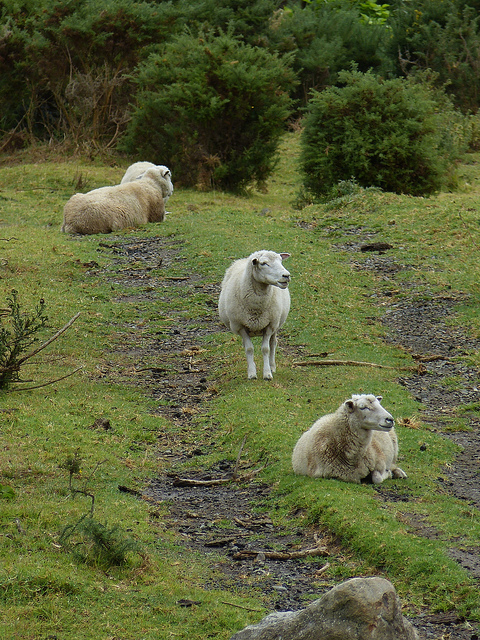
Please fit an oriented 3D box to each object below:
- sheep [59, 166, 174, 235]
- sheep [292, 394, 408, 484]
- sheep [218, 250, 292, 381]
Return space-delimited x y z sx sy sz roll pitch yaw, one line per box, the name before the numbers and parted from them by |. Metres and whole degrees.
sheep | -2.774 -2.810 23.375 3.307 1.356 1.527 -20 31 -38
sheep | 1.240 1.287 11.078 1.346 0.963 1.237 -8 18 -25
sheep | 0.179 -0.093 13.788 0.989 1.827 1.792 7 9 -1
